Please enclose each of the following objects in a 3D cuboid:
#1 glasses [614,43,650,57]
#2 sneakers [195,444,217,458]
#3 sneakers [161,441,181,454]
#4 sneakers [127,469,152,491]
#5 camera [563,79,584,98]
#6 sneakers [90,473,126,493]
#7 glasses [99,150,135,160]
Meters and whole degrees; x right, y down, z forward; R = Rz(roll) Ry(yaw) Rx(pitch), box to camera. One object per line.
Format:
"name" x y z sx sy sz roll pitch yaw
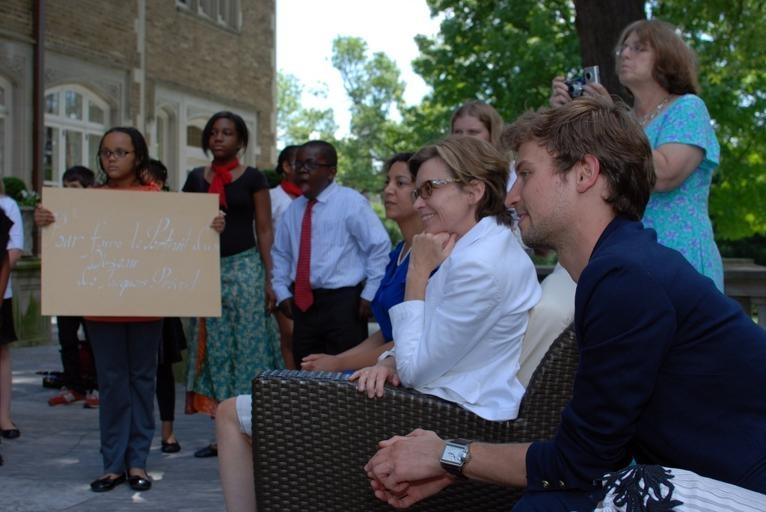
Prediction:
"glasses" 1.521 -1.258 5.283 0.108 0.043 0.087 -6 -2 32
"sneakers" -1.432 1.599 7.052 0.174 0.089 0.141 0 2 -16
"sneakers" -1.737 1.583 7.161 0.150 0.082 0.150 0 2 -15
"sneakers" -1.766 1.640 6.331 0.176 0.138 0.165 0 3 -14
"camera" 1.128 -0.990 5.101 0.113 0.128 0.188 1 2 12
"sneakers" -1.995 1.659 6.302 0.105 0.074 0.197 -6 -12 23
"glasses" -1.953 -0.743 6.351 0.225 0.062 0.058 0 3 2
